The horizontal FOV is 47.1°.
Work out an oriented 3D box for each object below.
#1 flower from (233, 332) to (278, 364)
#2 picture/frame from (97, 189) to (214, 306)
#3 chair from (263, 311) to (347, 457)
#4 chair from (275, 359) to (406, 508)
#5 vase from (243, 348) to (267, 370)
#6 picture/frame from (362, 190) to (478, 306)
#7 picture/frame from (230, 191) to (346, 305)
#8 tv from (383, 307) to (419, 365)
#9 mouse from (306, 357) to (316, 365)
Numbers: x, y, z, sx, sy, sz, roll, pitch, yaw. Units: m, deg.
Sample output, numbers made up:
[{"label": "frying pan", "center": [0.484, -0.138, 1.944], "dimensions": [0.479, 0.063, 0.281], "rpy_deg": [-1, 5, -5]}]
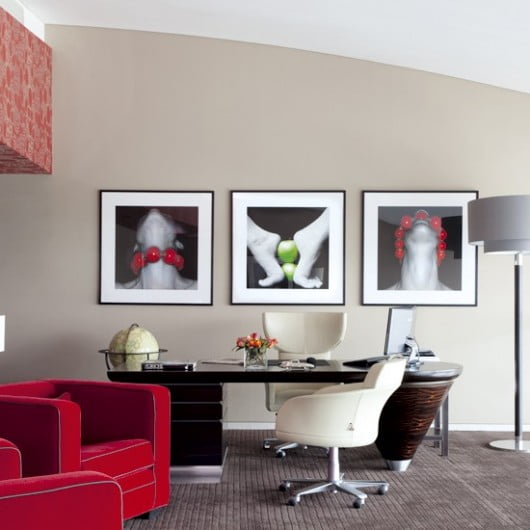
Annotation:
[{"label": "flower", "center": [-0.066, 0.579, 4.287], "dimensions": [0.267, 0.251, 0.289], "rpy_deg": [1, -8, -3]}, {"label": "picture/frame", "center": [-1.042, -0.122, 5.692], "dimensions": [0.911, 1.069, 0.033], "rpy_deg": [1, -3, 1]}, {"label": "chair", "center": [0.306, 0.935, 4.921], "dimensions": [0.747, 1.152, 0.733], "rpy_deg": [6, -11, -36]}, {"label": "chair", "center": [0.438, 1.106, 3.977], "dimensions": [0.802, 1.047, 0.853], "rpy_deg": [1, -8, 4]}, {"label": "vase", "center": [-0.063, 0.652, 4.231], "dimensions": [0.124, 0.145, 0.135], "rpy_deg": [1, -8, 0]}, {"label": "picture/frame", "center": [1.459, -0.126, 5.660], "dimensions": [0.916, 1.083, 0.039], "rpy_deg": [0, -4, 0]}, {"label": "picture/frame", "center": [0.235, -0.116, 5.689], "dimensions": [0.894, 1.053, 0.064], "rpy_deg": [1, -3, 1]}, {"label": "tv", "center": [1.003, 0.526, 4.476], "dimensions": [0.142, 0.388, 0.397], "rpy_deg": [3, -1, 29]}, {"label": "mouse", "center": [0.339, 0.699, 4.435], "dimensions": [0.036, 0.054, 0.045], "rpy_deg": [2, 2, 10]}]
